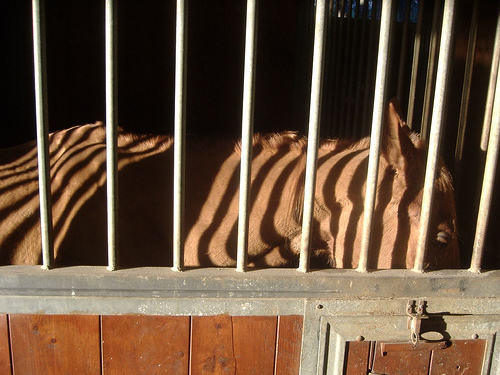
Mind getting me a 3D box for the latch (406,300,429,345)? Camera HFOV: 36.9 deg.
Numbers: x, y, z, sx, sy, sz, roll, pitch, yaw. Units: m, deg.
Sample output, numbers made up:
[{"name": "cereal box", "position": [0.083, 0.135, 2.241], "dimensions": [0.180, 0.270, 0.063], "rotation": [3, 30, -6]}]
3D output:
[{"name": "latch", "position": [0.923, 0.745, 4.120], "dimensions": [0.081, 0.233, 0.089], "rotation": [1, 2, -30]}]
